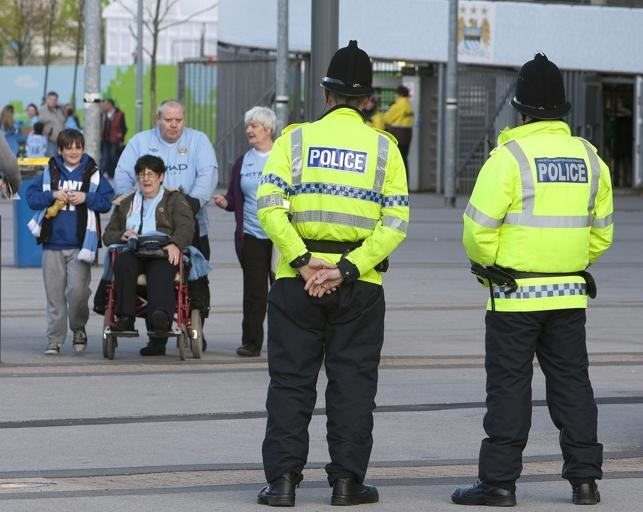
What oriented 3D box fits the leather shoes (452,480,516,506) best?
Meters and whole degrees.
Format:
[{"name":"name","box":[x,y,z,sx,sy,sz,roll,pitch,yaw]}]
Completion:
[{"name":"leather shoes","box":[1.238,1.787,12.771,0.474,0.180,0.101,1,5,9]}]

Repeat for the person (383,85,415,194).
[{"name":"person","box":[1.706,-2.392,34.212,0.587,2.150,0.729,4,20,-6]}]

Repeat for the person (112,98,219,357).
[{"name":"person","box":[-1.387,-0.342,16.951,1.058,2.451,1.212,3,15,-5]}]

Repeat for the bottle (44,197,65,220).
[{"name":"bottle","box":[-2.583,-0.457,16.630,0.193,0.195,0.106,-1,5,-15]}]

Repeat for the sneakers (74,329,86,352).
[{"name":"sneakers","box":[-2.352,0.846,16.735,0.089,0.250,0.099,-1,-29,0]}]

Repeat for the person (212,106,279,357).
[{"name":"person","box":[-0.653,-0.263,16.630,0.733,2.370,0.794,1,-3,-7]}]

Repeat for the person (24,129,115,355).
[{"name":"person","box":[-2.464,-0.164,16.783,0.963,2.232,0.703,1,3,-3]}]
